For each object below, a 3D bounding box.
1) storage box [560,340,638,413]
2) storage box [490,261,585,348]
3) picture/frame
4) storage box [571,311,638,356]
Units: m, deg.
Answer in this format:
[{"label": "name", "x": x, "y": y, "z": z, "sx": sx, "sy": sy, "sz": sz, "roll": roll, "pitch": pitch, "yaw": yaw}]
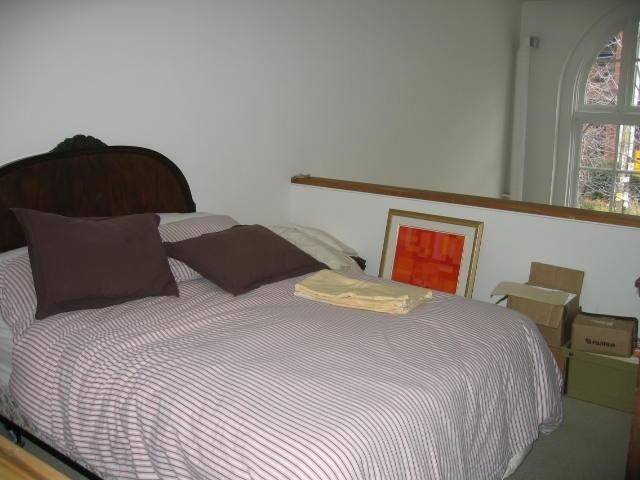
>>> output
[{"label": "storage box", "x": 1.847, "y": 0.904, "z": 2.929, "sx": 0.392, "sy": 0.297, "sz": 0.398, "roll": 7, "pitch": 12, "yaw": 37}, {"label": "storage box", "x": 1.591, "y": 0.427, "z": 3.136, "sx": 0.591, "sy": 0.410, "sz": 0.522, "roll": 5, "pitch": 15, "yaw": 28}, {"label": "picture/frame", "x": 0.898, "y": 0.104, "z": 3.403, "sx": 0.620, "sy": 0.631, "sz": 0.049, "roll": 14, "pitch": 2, "yaw": 31}, {"label": "storage box", "x": 1.886, "y": 0.527, "z": 2.910, "sx": 0.356, "sy": 0.222, "sz": 0.262, "roll": 4, "pitch": 6, "yaw": 28}]
